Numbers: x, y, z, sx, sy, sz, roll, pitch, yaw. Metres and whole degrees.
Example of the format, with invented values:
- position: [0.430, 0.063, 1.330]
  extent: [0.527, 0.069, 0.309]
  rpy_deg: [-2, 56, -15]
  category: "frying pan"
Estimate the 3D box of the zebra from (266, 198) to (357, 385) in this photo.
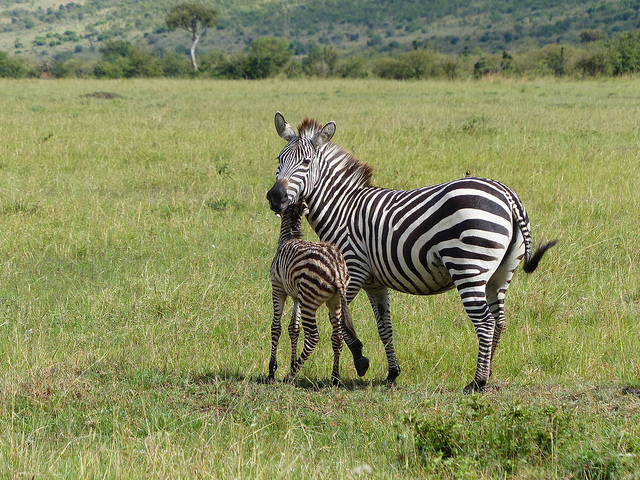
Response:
- position: [-0.247, 1.135, 18.685]
  extent: [1.681, 3.539, 1.056]
  rpy_deg: [2, 10, 24]
  category: "zebra"
